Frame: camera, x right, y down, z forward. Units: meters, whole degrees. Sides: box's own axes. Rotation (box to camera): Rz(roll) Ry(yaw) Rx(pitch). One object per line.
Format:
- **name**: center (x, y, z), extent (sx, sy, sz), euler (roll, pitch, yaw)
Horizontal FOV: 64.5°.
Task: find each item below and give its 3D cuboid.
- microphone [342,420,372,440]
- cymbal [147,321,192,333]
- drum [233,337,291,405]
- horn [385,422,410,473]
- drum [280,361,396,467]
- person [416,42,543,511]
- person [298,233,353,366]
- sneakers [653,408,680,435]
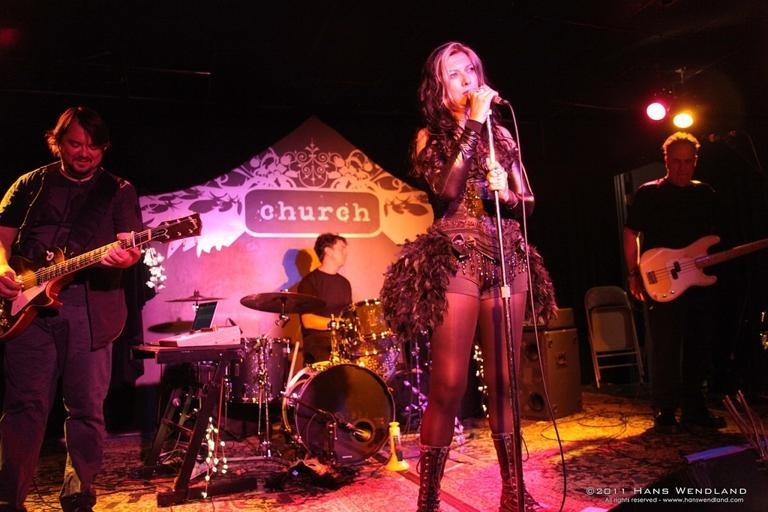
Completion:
- **microphone**: center (-0.218, 1.484, 5.196), extent (0.315, 0.161, 0.113), euler (15, -23, -36)
- **cymbal**: center (-2.249, 0.752, 6.439), extent (0.280, 0.107, 0.296), euler (-4, -9, 8)
- **drum**: center (-1.113, 1.083, 5.731), extent (0.580, 0.581, 0.592), euler (3, -13, -21)
- **horn**: center (0.112, 1.661, 5.296), extent (0.217, 0.415, 0.407), euler (1, -19, 0)
- **drum**: center (-0.366, 1.347, 5.241), extent (0.958, 0.828, 0.303), euler (9, -20, -23)
- **person**: center (0.544, 0.095, 3.781), extent (0.750, 2.799, 0.890), euler (-7, -20, 22)
- **person**: center (-0.584, 0.437, 6.373), extent (0.537, 1.437, 0.535), euler (8, -19, -20)
- **sneakers**: center (2.544, 1.516, 5.557), extent (0.157, 0.250, 0.252), euler (16, -26, -33)
